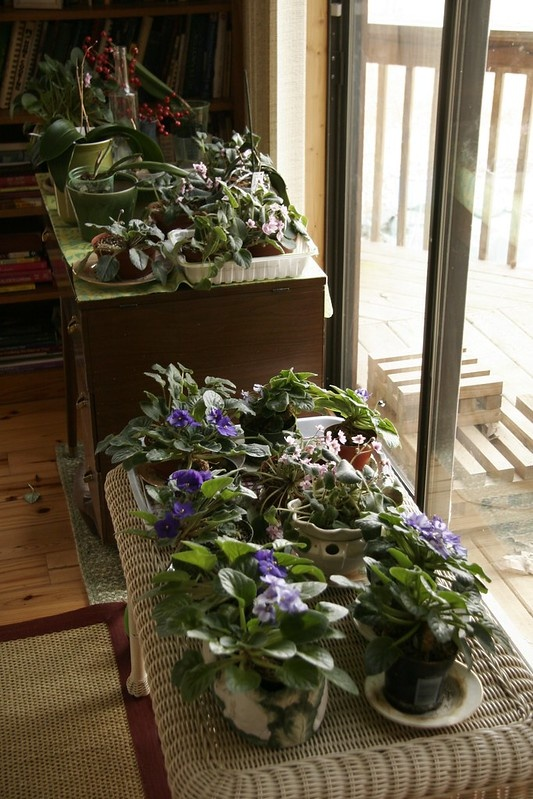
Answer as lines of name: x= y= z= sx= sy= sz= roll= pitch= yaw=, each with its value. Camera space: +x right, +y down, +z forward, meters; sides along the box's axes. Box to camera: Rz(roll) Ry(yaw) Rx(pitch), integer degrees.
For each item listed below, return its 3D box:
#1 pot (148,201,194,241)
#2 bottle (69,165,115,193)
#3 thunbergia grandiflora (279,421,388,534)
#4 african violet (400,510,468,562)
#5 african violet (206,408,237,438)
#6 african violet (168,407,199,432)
pot: x=-0.225 y=-0.453 z=1.466 sx=0.112 sy=0.082 sz=0.111 roll=2 pitch=47 yaw=-2
bottle: x=-0.432 y=-0.572 z=1.440 sx=0.099 sy=0.078 sz=0.105 roll=3 pitch=22 yaw=-1
thunbergia grandiflora: x=0.095 y=0.119 z=0.798 sx=0.130 sy=0.122 sz=0.131 roll=-26 pitch=43 yaw=-36
african violet: x=0.178 y=0.139 z=0.614 sx=0.053 sy=0.023 sz=0.052 roll=43 pitch=13 yaw=14
african violet: x=-0.062 y=0.035 z=0.793 sx=0.030 sy=0.028 sz=0.053 roll=-14 pitch=26 yaw=-37
african violet: x=-0.115 y=0.029 z=0.804 sx=0.048 sy=0.031 sz=0.026 roll=-14 pitch=26 yaw=-37
